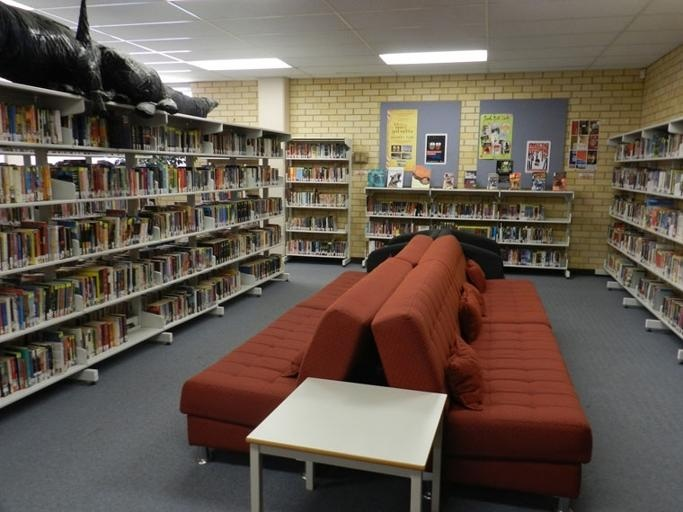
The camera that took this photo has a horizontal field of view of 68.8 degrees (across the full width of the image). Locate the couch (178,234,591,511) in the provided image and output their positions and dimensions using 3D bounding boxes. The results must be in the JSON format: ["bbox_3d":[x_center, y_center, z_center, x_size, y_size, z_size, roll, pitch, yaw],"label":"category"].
[{"bbox_3d":[0.482,0.709,3.240,1.713,0.796,2.374,3,9,21],"label":"couch"}]
